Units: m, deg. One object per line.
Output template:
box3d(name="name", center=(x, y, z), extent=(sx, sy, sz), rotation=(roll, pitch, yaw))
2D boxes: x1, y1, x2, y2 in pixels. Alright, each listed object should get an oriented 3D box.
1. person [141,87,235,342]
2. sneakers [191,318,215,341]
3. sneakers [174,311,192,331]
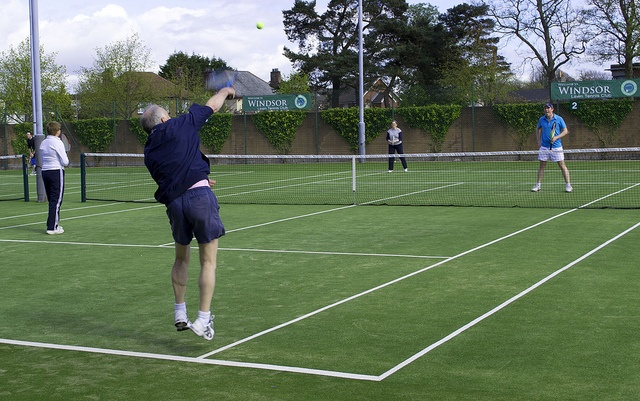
box3d(name="person", center=(-1.387, 0.195, 6.349), extent=(0.676, 2.599, 0.833), rotation=(-8, 10, -44))
box3d(name="sneakers", center=(-1.224, 1.348, 6.175), extent=(0.128, 0.166, 0.363), rotation=(10, -11, 23))
box3d(name="sneakers", center=(-1.453, 1.242, 6.130), extent=(0.104, 0.121, 0.261), rotation=(-3, -23, -7))
